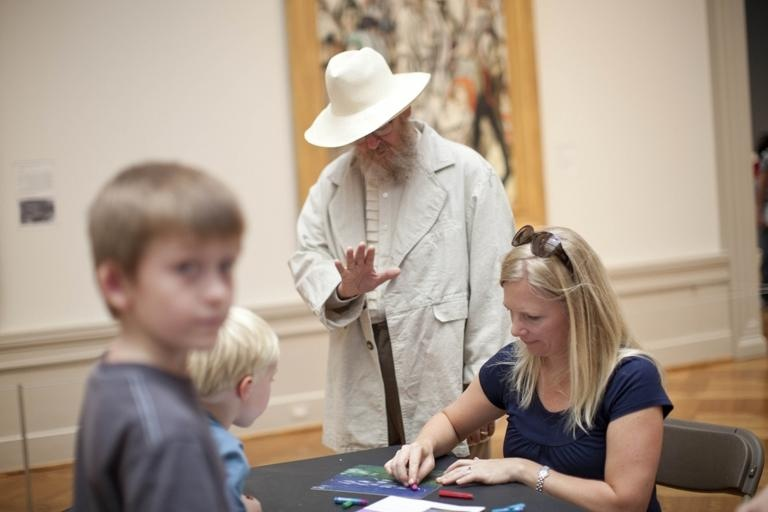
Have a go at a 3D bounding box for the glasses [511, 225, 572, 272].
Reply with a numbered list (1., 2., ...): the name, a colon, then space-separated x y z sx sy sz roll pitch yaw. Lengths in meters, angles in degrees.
1. glasses: 0.400 -0.032 1.766 0.131 0.044 0.108 37 -13 -37

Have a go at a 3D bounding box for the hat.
1. hat: -0.073 -0.581 2.282 0.416 0.218 0.414 -17 37 7

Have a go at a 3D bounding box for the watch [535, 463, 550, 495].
1. watch: 0.366 0.510 1.601 0.035 0.071 0.069 14 -9 13

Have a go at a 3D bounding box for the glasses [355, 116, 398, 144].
1. glasses: -0.017 -0.420 2.239 0.085 0.043 0.111 -38 4 24
